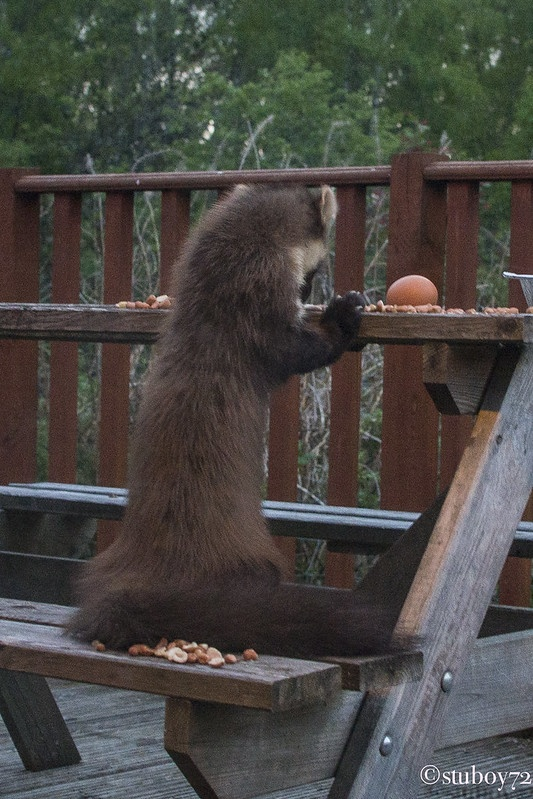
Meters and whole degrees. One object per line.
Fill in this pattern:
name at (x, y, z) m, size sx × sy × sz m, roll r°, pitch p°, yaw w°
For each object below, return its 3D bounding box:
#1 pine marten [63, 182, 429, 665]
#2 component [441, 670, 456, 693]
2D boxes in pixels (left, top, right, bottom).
pine marten at (-0.040, 0.067, 4.169) m, size 0.600 × 1.360 × 0.858 m, roll 9°, pitch -16°, yaw -7°
component at (0.405, 0.634, 3.901) m, size 0.017 × 0.042 × 0.037 m, roll 7°, pitch 22°, yaw 8°
